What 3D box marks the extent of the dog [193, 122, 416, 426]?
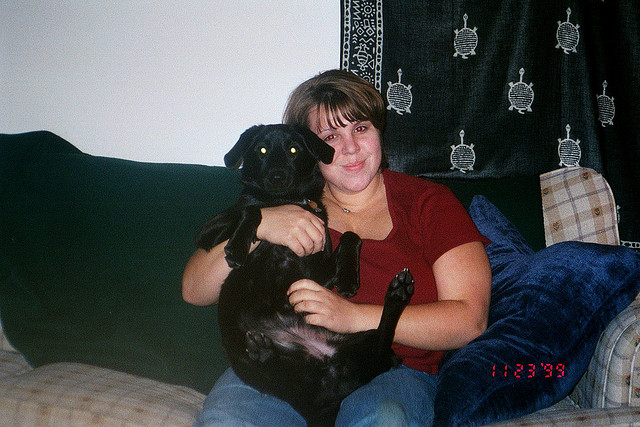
[{"bbox_3d":[-0.132,0.289,3.047,1.125,1.568,0.598,3,7,26],"label":"dog"}]
